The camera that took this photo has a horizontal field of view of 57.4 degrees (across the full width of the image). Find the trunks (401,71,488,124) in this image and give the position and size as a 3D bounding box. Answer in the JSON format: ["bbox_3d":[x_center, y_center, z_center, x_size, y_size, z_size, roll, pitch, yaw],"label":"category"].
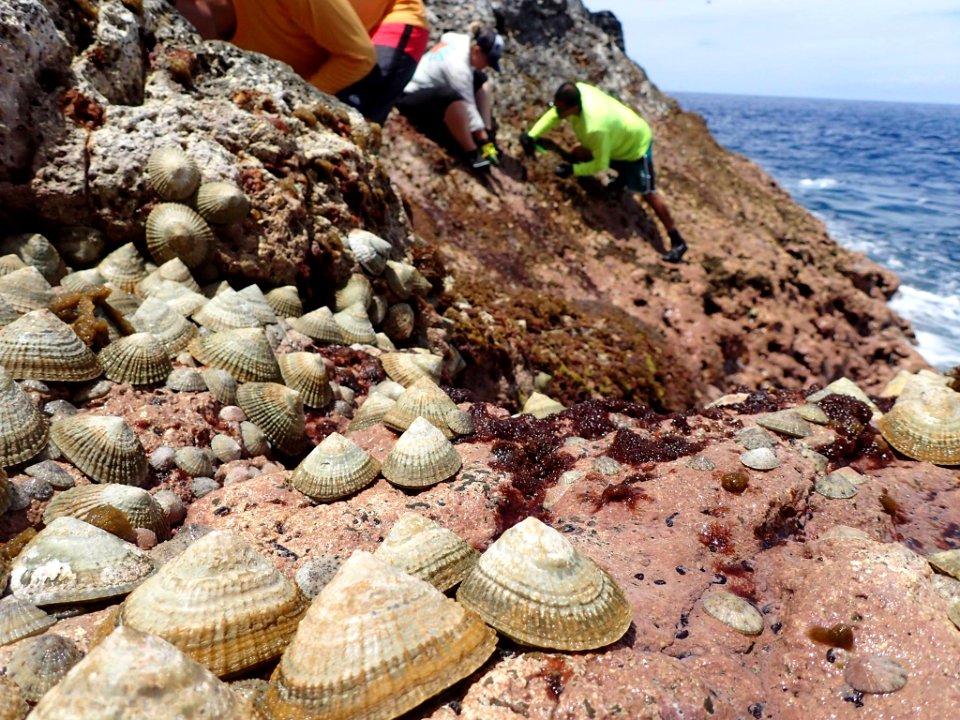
[{"bbox_3d":[-0.553,-3.523,11.831,0.863,0.334,0.698,-15,26,-3],"label":"trunks"}]

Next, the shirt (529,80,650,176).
[{"bbox_3d":[1.602,-3.246,12.381,1.386,1.260,1.134,-12,-16,4],"label":"shirt"}]
